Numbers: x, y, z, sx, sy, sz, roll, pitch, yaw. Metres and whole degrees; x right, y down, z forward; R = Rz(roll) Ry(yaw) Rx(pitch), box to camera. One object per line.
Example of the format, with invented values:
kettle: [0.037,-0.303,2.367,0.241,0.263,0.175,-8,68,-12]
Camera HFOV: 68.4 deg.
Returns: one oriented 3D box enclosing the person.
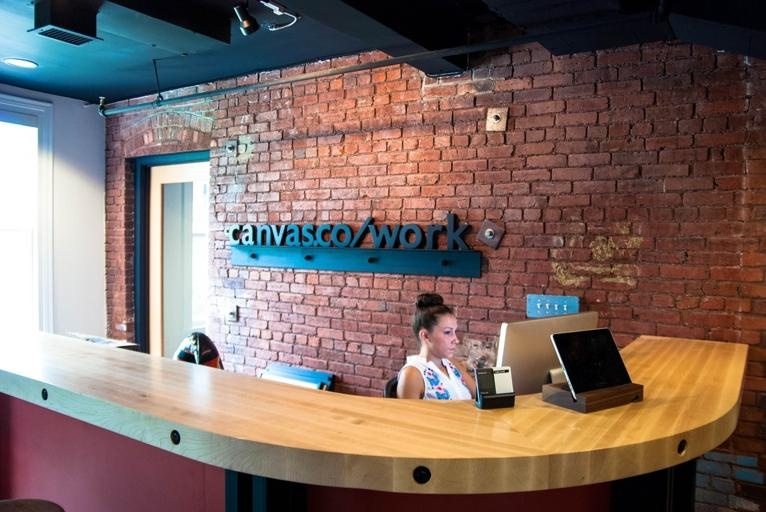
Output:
person: [0.325,0.576,3.539,0.343,0.660,0.647,-1,1,34]

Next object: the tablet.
tablet: [0.954,0.480,2.572,0.377,0.272,0.118,-2,1,-27]
